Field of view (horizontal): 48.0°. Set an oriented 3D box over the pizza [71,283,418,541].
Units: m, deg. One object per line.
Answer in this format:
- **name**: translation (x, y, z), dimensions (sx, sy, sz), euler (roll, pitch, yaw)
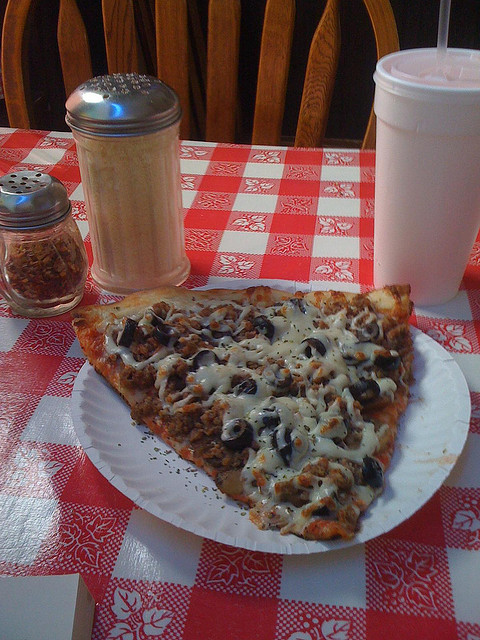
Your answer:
- **pizza**: translation (-0.003, 0.118, 0.634), dimensions (0.298, 0.036, 0.288), euler (19, 40, 15)
